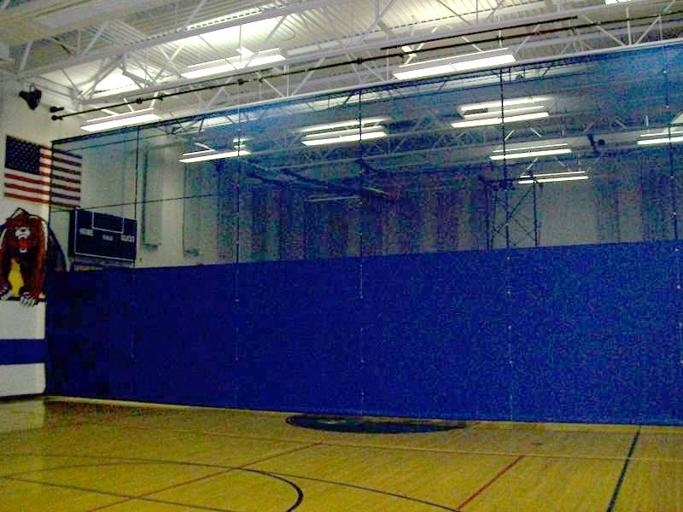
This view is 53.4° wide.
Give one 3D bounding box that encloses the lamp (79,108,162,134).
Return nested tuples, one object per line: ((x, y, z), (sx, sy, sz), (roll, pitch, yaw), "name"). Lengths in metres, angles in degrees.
((-4.373, -2.693, 13.349), (2.267, 0.406, 0.238), (-2, 15, 24), "lamp")

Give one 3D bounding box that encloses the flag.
((-6.409, -1.770, 14.602), (1.711, 1.539, 0.093), (5, -8, -36), "flag")

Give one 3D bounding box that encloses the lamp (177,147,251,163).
((-2.384, -1.948, 13.058), (1.150, 0.189, 0.119), (-2, -11, 25), "lamp")

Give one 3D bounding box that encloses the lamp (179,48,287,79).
((-1.938, -3.631, 12.550), (1.892, 0.497, 0.707), (0, 0, 13), "lamp")

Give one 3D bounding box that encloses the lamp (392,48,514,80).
((1.911, -3.204, 11.441), (1.875, 0.319, 0.814), (0, 0, 31), "lamp")
